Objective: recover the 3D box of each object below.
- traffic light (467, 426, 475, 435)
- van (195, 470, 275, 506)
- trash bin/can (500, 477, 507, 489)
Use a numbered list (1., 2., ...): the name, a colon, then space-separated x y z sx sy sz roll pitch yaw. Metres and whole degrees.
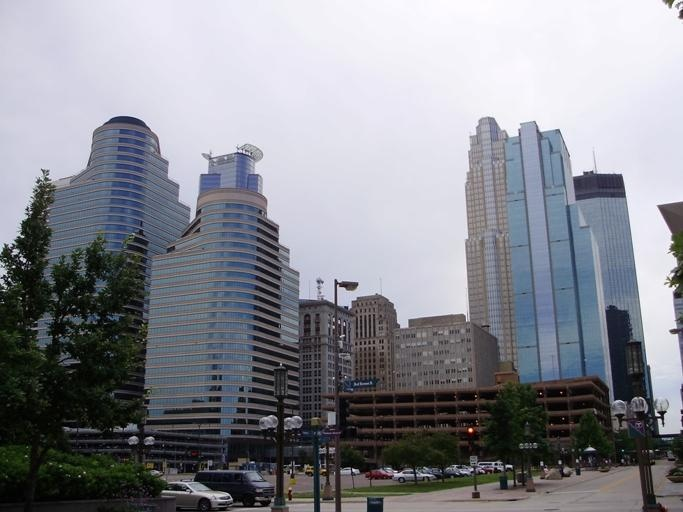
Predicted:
1. traffic light: 10.658 14.341 73.702 0.591 0.514 0.596 1 0 3
2. van: -8.093 18.639 71.937 5.421 1.979 3.015 -4 -12 18
3. trash bin/can: 15.667 21.498 84.966 1.040 0.992 0.948 1 -15 -5
